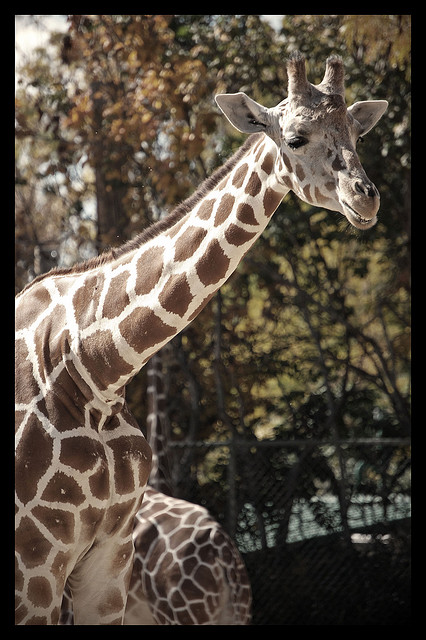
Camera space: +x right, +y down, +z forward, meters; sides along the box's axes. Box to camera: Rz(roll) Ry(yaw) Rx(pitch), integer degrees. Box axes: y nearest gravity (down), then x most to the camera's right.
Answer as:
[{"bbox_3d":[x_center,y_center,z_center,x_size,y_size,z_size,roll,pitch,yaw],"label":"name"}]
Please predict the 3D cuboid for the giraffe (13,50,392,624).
[{"bbox_3d":[-0.253,0.090,4.278,1.506,2.452,0.748,-6,14,-15],"label":"giraffe"}]
